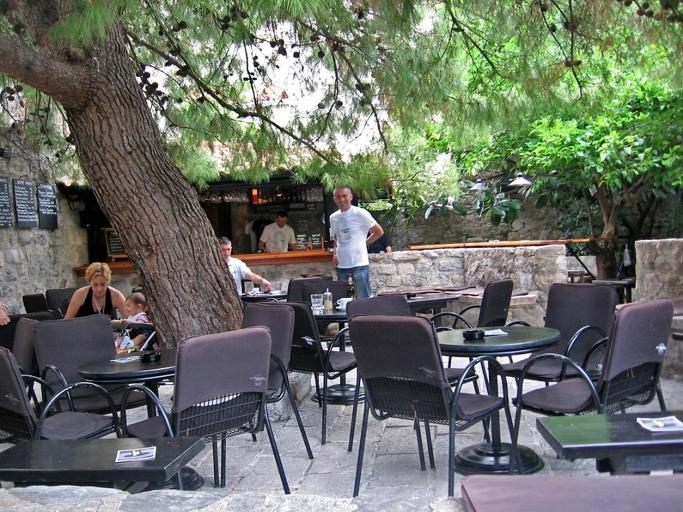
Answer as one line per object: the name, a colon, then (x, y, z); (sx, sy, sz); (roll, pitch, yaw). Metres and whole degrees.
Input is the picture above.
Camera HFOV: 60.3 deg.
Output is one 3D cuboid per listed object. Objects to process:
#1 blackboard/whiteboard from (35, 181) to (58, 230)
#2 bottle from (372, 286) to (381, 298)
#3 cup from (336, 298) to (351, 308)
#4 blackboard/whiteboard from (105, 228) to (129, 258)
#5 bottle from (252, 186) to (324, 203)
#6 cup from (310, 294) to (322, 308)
blackboard/whiteboard: (-3.951, -0.653, 7.882); (0.110, 0.638, 0.435); (-4, 4, -6)
bottle: (0.428, 0.458, 7.510); (0.130, 0.155, 0.131); (-1, -2, 42)
cup: (0.016, 0.406, 5.029); (0.115, 0.089, 0.092); (-3, 6, -18)
blackboard/whiteboard: (-3.891, -0.215, 10.079); (0.295, 0.537, 0.979); (-5, 4, -22)
bottle: (-1.183, -1.268, 12.601); (1.606, 0.313, 0.397); (-3, -1, 6)
cup: (-0.227, 0.394, 5.088); (0.097, 0.117, 0.102); (0, -7, 0)
